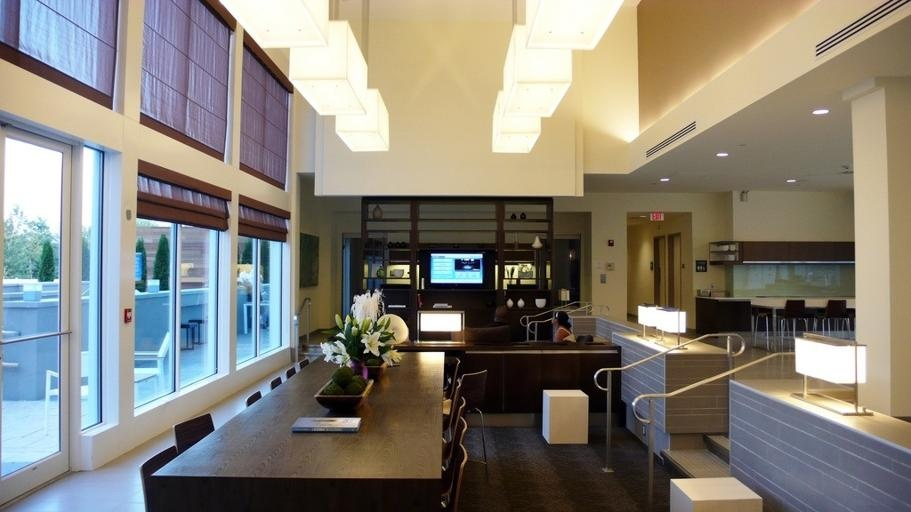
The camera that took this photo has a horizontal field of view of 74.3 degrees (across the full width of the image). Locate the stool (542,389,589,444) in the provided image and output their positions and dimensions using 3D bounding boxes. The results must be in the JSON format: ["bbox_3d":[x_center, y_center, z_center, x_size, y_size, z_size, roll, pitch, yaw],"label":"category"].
[{"bbox_3d":[1.803,2.537,9.527,0.770,0.708,0.737,-3,-7,12],"label":"stool"}]

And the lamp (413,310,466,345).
[{"bbox_3d":[-0.328,1.209,10.173,0.995,0.508,0.892,-1,-7,12],"label":"lamp"}]

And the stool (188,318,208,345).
[{"bbox_3d":[-4.420,1.291,10.309,0.346,0.489,0.334,2,0,11],"label":"stool"}]

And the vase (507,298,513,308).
[{"bbox_3d":[1.259,1.107,14.077,0.171,0.187,0.166,5,-5,-7],"label":"vase"}]

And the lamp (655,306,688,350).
[{"bbox_3d":[3.355,1.144,9.430,0.271,0.702,0.813,1,-3,-4],"label":"lamp"}]

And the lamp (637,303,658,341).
[{"bbox_3d":[3.154,1.107,9.889,0.209,0.622,0.627,2,-1,5],"label":"lamp"}]

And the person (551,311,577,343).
[{"bbox_3d":[1.919,1.248,10.646,0.369,0.472,1.204,-1,-3,9],"label":"person"}]

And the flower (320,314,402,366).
[{"bbox_3d":[-1.207,1.128,7.842,0.840,0.585,0.779,5,-8,-21],"label":"flower"}]

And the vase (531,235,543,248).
[{"bbox_3d":[1.901,-0.338,14.366,0.286,0.277,0.301,-1,0,33],"label":"vase"}]

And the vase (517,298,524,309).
[{"bbox_3d":[1.513,1.113,14.169,0.191,0.217,0.186,7,-9,-37],"label":"vase"}]

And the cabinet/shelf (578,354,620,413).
[{"bbox_3d":[2.371,2.076,9.834,0.719,1.047,0.185,0,-3,-15],"label":"cabinet/shelf"}]

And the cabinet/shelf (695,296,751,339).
[{"bbox_3d":[6.674,1.555,15.188,1.099,0.859,1.045,0,-6,7],"label":"cabinet/shelf"}]

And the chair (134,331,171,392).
[{"bbox_3d":[-4.760,1.721,9.491,0.740,0.947,0.709,4,-6,-29],"label":"chair"}]

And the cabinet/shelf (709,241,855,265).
[{"bbox_3d":[8.297,-0.103,15.282,3.317,0.583,0.495,-1,-3,3],"label":"cabinet/shelf"}]
